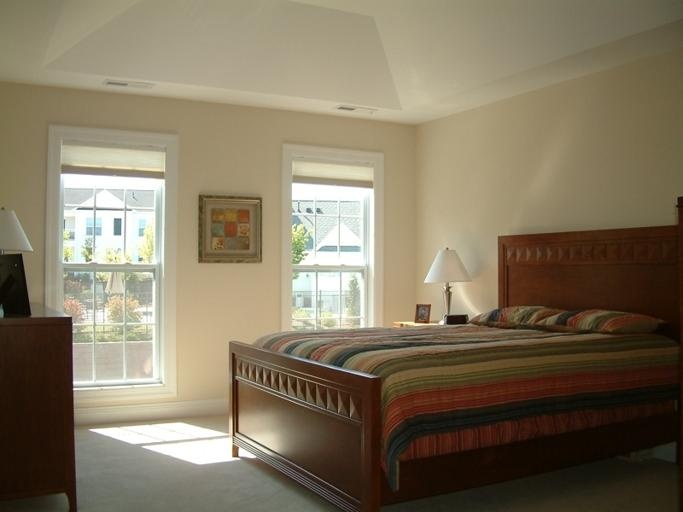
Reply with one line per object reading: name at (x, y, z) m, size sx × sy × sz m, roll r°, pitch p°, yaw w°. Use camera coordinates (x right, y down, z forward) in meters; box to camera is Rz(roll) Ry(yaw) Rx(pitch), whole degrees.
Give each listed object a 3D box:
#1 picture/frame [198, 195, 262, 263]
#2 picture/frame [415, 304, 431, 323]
picture/frame at (-1.163, -0.275, 5.336) m, size 0.688 × 0.732 × 0.058 m, roll 0°, pitch 0°, yaw -26°
picture/frame at (0.899, 0.632, 5.734) m, size 0.194 × 0.232 × 0.023 m, roll -1°, pitch -17°, yaw 45°
